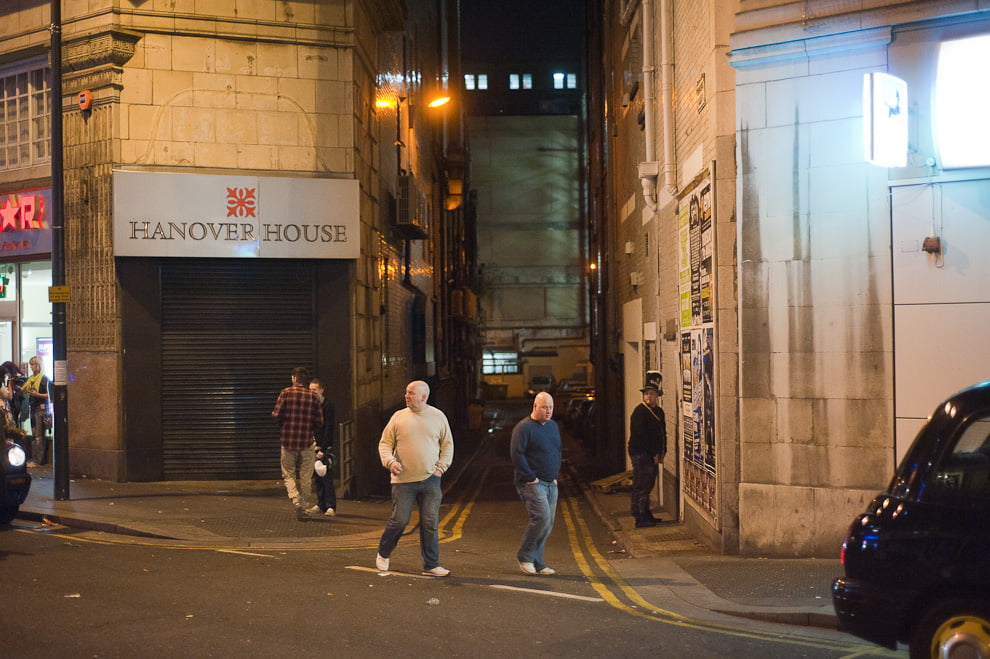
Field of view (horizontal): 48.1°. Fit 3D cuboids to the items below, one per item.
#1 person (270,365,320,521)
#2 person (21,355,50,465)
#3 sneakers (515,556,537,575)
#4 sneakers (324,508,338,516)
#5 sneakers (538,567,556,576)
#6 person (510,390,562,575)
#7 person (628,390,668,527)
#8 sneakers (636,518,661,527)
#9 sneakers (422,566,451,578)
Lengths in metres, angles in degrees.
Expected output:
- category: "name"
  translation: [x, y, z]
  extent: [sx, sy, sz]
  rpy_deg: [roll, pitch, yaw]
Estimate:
- category: "person"
  translation: [-3.515, 1.967, 19.688]
  extent: [0.818, 2.385, 0.517]
  rpy_deg: [0, 0, -10]
- category: "person"
  translation: [-10.012, 1.727, 24.204]
  extent: [0.656, 1.955, 0.372]
  rpy_deg: [-1, 0, 21]
- category: "sneakers"
  translation: [0.483, 3.564, 16.918]
  extent: [0.199, 0.233, 0.505]
  rpy_deg: [1, -9, -12]
- category: "sneakers"
  translation: [-3.019, 3.278, 20.234]
  extent: [0.200, 0.124, 0.321]
  rpy_deg: [0, -1, -11]
- category: "sneakers"
  translation: [0.780, 3.653, 16.903]
  extent: [0.209, 0.092, 0.113]
  rpy_deg: [0, 1, 8]
- category: "person"
  translation: [0.632, 2.310, 16.999]
  extent: [0.746, 2.653, 0.474]
  rpy_deg: [0, 0, -5]
- category: "person"
  translation: [2.861, 2.287, 20.797]
  extent: [0.583, 2.590, 1.082]
  rpy_deg: [-1, 0, 32]
- category: "sneakers"
  translation: [2.818, 3.524, 20.488]
  extent: [0.479, 0.214, 0.150]
  rpy_deg: [-3, 6, -9]
- category: "sneakers"
  translation: [-0.874, 3.575, 16.526]
  extent: [0.368, 0.154, 0.147]
  rpy_deg: [-1, -2, 8]
